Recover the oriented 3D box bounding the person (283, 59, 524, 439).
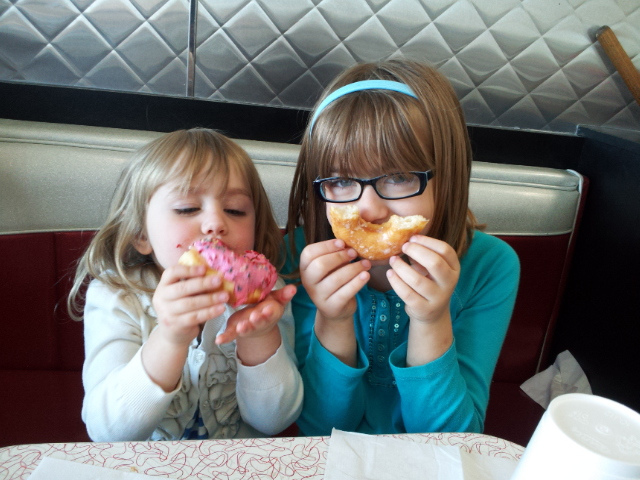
[{"bbox_3d":[0.244,0.056,1.655,0.758,1.217,0.658,3,3,35],"label":"person"}]

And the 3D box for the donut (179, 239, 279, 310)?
[{"bbox_3d":[-0.230,0.075,1.272,0.200,0.083,0.180,28,18,-7],"label":"donut"}]

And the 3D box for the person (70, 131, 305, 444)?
[{"bbox_3d":[-0.380,0.156,1.452,0.662,0.963,0.560,-1,9,-15],"label":"person"}]

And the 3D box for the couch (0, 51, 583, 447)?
[{"bbox_3d":[-0.173,-0.129,2.991,2.866,1.487,1.923,3,13,-3],"label":"couch"}]
